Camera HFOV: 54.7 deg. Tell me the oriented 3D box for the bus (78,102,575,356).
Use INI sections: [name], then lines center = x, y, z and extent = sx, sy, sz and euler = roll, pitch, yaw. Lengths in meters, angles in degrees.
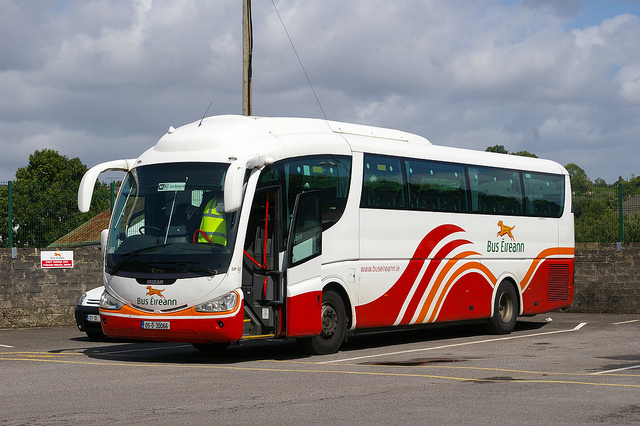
[bus]
center = 1.977, 0.563, 18.062
extent = 14.777, 5.285, 4.680
euler = 2, -1, -43
